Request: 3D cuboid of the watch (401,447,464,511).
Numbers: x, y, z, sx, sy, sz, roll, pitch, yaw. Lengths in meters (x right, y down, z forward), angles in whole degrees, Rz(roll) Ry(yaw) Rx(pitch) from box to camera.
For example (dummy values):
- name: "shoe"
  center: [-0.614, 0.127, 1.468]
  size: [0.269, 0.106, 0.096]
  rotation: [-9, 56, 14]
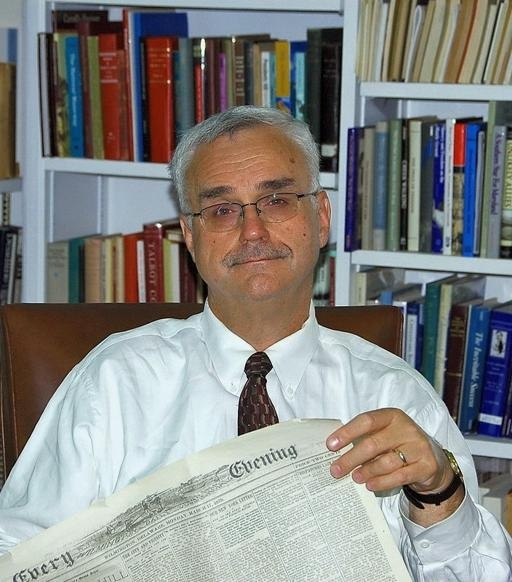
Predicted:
- name: "watch"
  center: [0.247, 0.258, 0.779]
  size: [0.087, 0.030, 0.090]
  rotation: [-4, 49, 12]

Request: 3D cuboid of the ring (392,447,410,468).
- name: "ring"
  center: [0.185, 0.213, 0.699]
  size: [0.007, 0.019, 0.015]
  rotation: [-22, 6, -16]

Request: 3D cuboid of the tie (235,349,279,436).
- name: "tie"
  center: [-0.001, 0.182, 0.938]
  size: [0.063, 0.024, 0.177]
  rotation: [-12, 44, 8]
